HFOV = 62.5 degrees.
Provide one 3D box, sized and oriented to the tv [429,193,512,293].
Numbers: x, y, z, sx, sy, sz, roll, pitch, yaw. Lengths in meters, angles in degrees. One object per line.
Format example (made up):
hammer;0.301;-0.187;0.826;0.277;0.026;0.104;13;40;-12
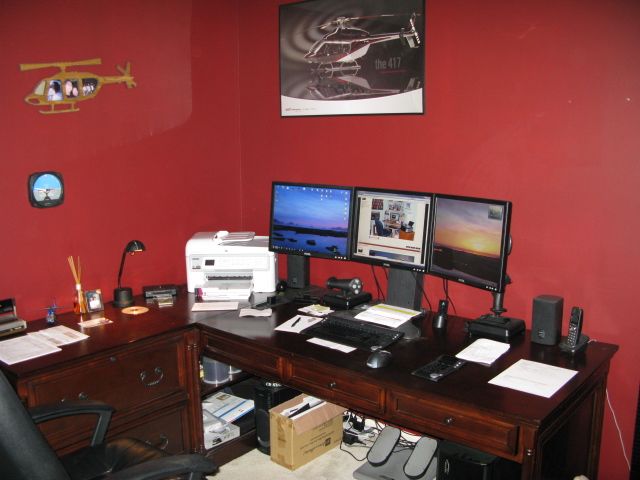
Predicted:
tv;0.807;0.001;2.826;0.068;0.502;0.511;-12;18;-39

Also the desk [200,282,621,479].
desk;0.494;0.902;2.798;1.848;0.803;0.831;3;15;25

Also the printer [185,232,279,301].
printer;-0.582;0.189;3.638;0.493;0.304;0.463;0;6;-2

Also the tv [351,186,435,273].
tv;0.434;-0.066;3.116;0.476;0.413;0.050;11;15;32

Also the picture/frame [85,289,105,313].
picture/frame;-1.412;0.383;3.291;0.112;0.138;0.016;-17;0;-35

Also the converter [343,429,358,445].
converter;0.203;1.334;3.561;0.084;0.032;0.058;4;27;0

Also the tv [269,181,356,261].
tv;-0.046;-0.123;3.372;0.509;0.410;0.042;5;10;22
